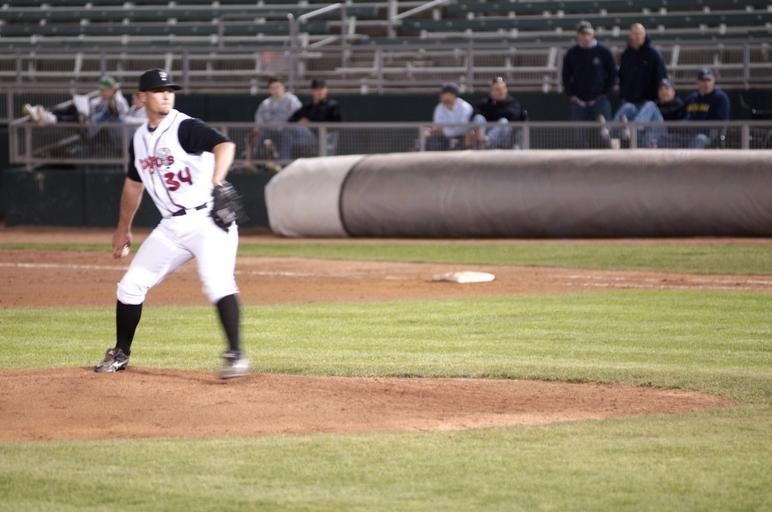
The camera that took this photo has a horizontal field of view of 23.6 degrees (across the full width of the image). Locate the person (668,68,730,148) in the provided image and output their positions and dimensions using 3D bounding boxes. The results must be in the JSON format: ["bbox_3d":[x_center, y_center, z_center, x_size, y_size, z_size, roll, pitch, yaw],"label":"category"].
[{"bbox_3d":[4.887,-2.320,28.989,0.872,1.221,0.800,1,6,19],"label":"person"}]

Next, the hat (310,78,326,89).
[{"bbox_3d":[-1.137,-2.789,29.755,0.217,0.142,0.205,1,10,23],"label":"hat"}]

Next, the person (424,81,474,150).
[{"bbox_3d":[0.972,-2.197,29.691,0.762,1.037,1.166,0,-4,19],"label":"person"}]

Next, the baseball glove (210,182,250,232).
[{"bbox_3d":[-1.995,-0.603,22.030,0.428,0.553,0.159,-10,17,-28],"label":"baseball glove"}]

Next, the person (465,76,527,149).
[{"bbox_3d":[1.701,-2.287,29.452,0.980,1.111,0.434,0,6,5],"label":"person"}]

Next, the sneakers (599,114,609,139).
[{"bbox_3d":[3.379,-2.046,29.053,0.118,0.383,0.115,-7,13,15],"label":"sneakers"}]

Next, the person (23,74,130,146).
[{"bbox_3d":[-5.182,-2.568,30.884,1.804,0.760,0.907,0,6,-30],"label":"person"}]

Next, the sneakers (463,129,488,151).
[{"bbox_3d":[1.401,-1.875,29.424,0.288,0.345,0.138,2,8,8],"label":"sneakers"}]

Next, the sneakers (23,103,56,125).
[{"bbox_3d":[-5.813,-2.395,30.678,0.530,0.181,0.299,33,28,30],"label":"sneakers"}]

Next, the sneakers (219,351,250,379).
[{"bbox_3d":[-1.842,1.307,22.099,0.447,0.260,0.214,3,-1,-10],"label":"sneakers"}]

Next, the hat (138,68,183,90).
[{"bbox_3d":[-2.788,-2.076,21.940,0.390,0.178,0.273,-10,2,26],"label":"hat"}]
